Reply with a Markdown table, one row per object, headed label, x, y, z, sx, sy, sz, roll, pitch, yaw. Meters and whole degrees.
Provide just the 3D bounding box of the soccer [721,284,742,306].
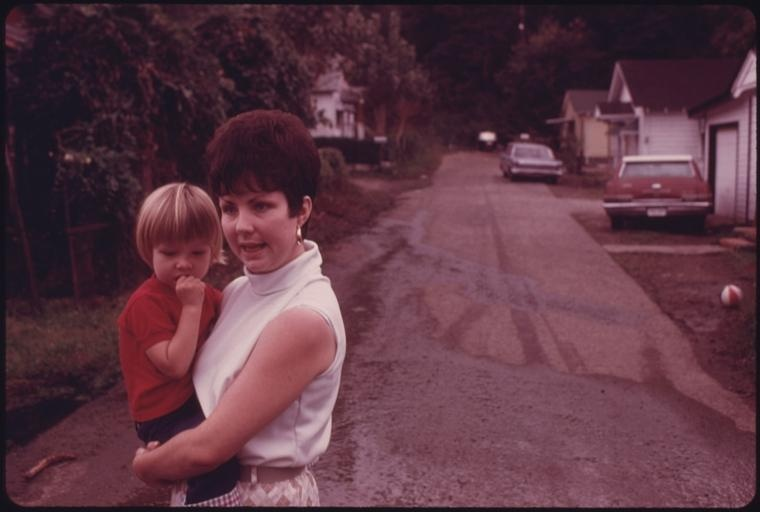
| label | x | y | z | sx | sy | sz | roll | pitch | yaw |
| --- | --- | --- | --- | --- | --- | --- | --- | --- | --- |
| soccer | 3.842 | 0.422 | 6.629 | 0.206 | 0.268 | 0.202 | -3 | 6 | -5 |
